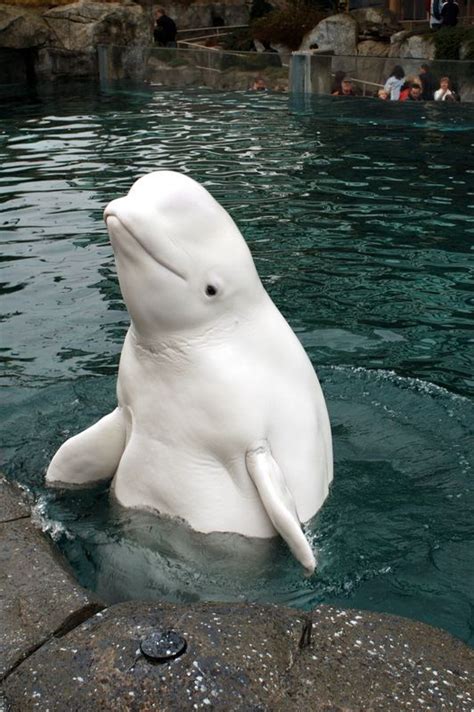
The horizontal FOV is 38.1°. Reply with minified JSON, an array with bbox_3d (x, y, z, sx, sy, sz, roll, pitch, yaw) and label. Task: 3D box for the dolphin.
[{"bbox_3d":[-0.150,0.030,2.590,1.035,1.336,1.040,-3,28,-17],"label":"dolphin"}]
